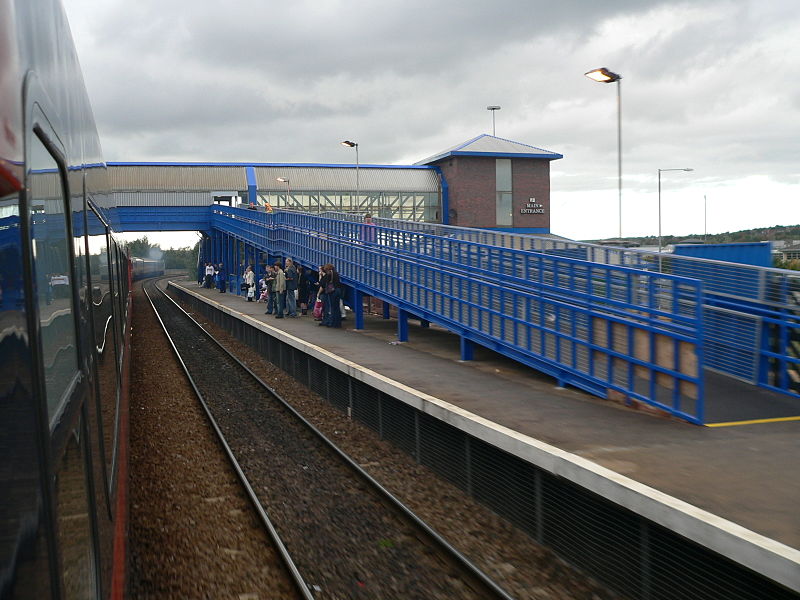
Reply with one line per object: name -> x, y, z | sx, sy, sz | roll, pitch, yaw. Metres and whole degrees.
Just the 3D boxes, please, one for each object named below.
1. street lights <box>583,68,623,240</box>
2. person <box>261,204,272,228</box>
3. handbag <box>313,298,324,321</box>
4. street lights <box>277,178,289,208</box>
street lights -> 4.483, -2.907, 13.010 | 0.887, 3.726, 0.744 | -1, 15, 21
person -> -5.998, -3.791, 28.008 | 0.265, 1.219, 1.141 | 1, 9, -12
handbag -> -2.578, 0.303, 19.598 | 0.210, 0.688, 0.585 | -1, 4, -14
street lights -> -7.573, -7.133, 40.380 | 0.708, 1.818, 0.368 | -2, 4, -16
